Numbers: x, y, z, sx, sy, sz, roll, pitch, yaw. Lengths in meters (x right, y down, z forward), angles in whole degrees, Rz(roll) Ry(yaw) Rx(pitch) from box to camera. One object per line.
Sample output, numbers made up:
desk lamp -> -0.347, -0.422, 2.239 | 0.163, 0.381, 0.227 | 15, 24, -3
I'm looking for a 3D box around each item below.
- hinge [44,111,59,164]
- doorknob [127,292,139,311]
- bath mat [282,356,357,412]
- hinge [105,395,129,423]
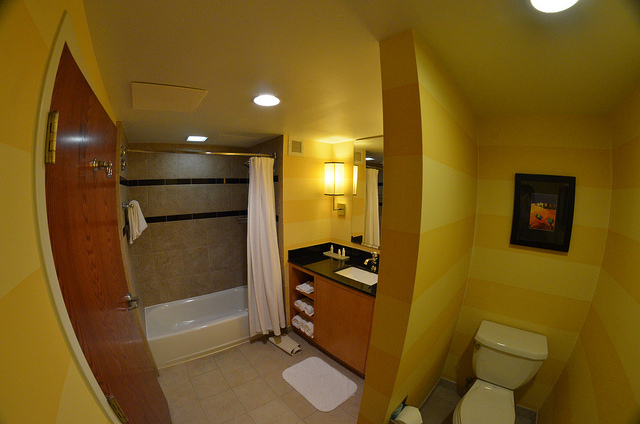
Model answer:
hinge -> -1.257, -0.323, 1.990 | 0.038, 0.193, 0.027 | 8, 9, -9
doorknob -> -1.283, 0.607, 2.886 | 0.055, 0.120, 0.183 | -2, 7, -22
bath mat -> -0.006, 1.526, 3.770 | 0.454, 0.154, 0.620 | -5, 9, -43
hinge -> -1.077, 1.052, 2.242 | 0.078, 0.217, 0.136 | -1, 7, -15
